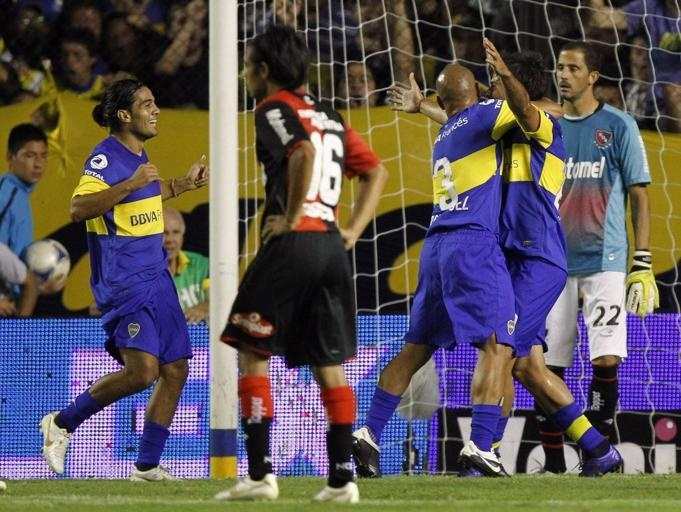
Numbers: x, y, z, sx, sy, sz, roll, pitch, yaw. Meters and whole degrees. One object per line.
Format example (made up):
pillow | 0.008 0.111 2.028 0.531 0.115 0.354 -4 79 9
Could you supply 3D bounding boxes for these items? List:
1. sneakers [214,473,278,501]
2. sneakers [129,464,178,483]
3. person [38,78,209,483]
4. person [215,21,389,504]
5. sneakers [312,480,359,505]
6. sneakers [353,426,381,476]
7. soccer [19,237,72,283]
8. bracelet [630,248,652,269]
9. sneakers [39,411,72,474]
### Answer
sneakers | -0.529 1.255 6.253 0.371 0.171 0.134 2 -11 0
sneakers | -1.183 1.384 7.252 0.332 0.153 0.119 2 2 -10
person | -1.336 0.126 7.336 0.944 2.568 0.511 3 -6 -16
person | -0.227 0.030 6.326 0.825 2.599 0.396 1 -6 1
sneakers | -0.018 1.278 6.195 0.252 0.123 0.098 2 -6 3
sneakers | 0.160 1.222 7.131 0.114 0.152 0.338 -3 -52 34
soccer | -2.368 0.041 9.441 0.319 0.343 0.379 18 -7 43
bracelet | 2.073 0.030 7.879 0.128 0.147 0.100 1 1 -2
sneakers | -1.798 1.171 7.365 0.190 0.448 0.141 -12 -5 23
